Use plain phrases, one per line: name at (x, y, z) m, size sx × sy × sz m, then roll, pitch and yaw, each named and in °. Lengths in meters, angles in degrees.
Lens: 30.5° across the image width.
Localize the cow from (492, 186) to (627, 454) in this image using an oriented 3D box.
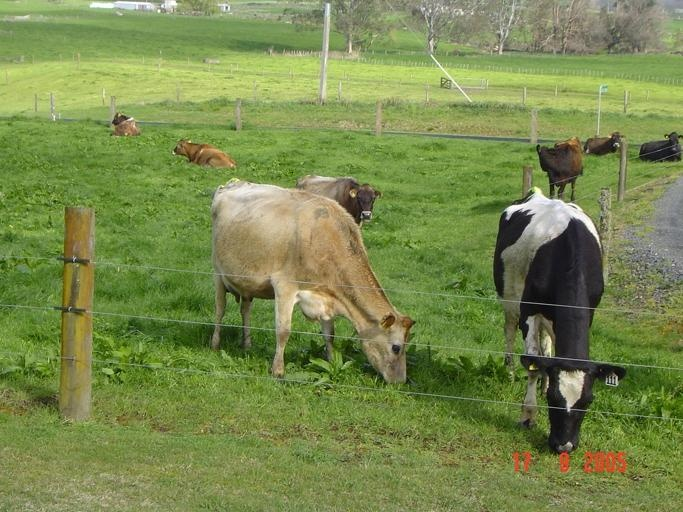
cow at (6.437, 1.326, 38.594) m, size 2.432 × 9.983 × 6.776 m, roll 7°, pitch 12°, yaw 29°

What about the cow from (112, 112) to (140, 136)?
cow at (-10.357, -6.253, 59.560) m, size 0.738 × 1.173 × 2.143 m, roll -6°, pitch 18°, yaw -26°

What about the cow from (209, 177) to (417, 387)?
cow at (-1.172, 0.873, 39.930) m, size 6.085 × 5.866 × 2.065 m, roll 1°, pitch 7°, yaw 4°

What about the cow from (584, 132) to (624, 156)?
cow at (12.256, -5.301, 59.141) m, size 1.935 × 1.016 × 0.695 m, roll 7°, pitch 9°, yaw 40°
